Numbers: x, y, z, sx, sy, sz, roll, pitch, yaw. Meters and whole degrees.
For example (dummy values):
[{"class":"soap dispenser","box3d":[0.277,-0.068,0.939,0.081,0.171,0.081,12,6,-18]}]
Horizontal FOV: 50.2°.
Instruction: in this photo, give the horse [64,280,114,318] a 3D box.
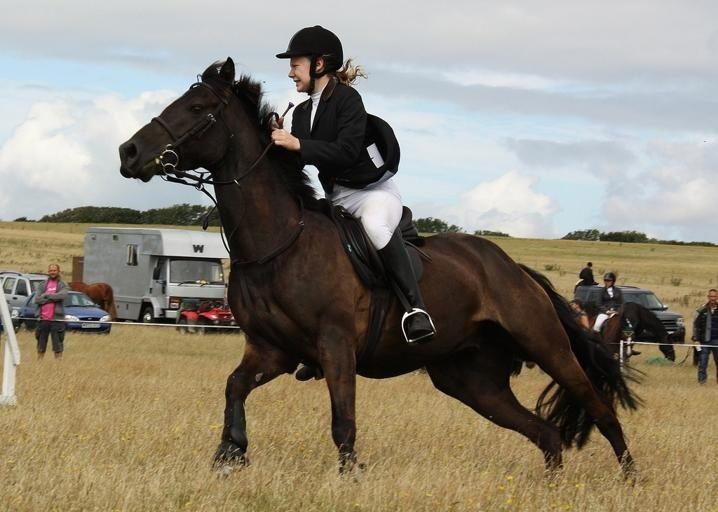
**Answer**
[{"class":"horse","box3d":[-10.203,1.679,29.189,2.566,1.434,0.579,0,-15,13]}]

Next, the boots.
[{"class":"boots","box3d":[0.515,0.325,7.976,0.592,1.111,0.274,5,4,34]}]

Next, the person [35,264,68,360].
[{"class":"person","box3d":[-7.114,1.303,17.864,0.656,2.224,1.387,1,4,-23]}]

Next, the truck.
[{"class":"truck","box3d":[-7.478,0.518,30.290,4.131,3.674,7.271,1,-1,-34]}]
